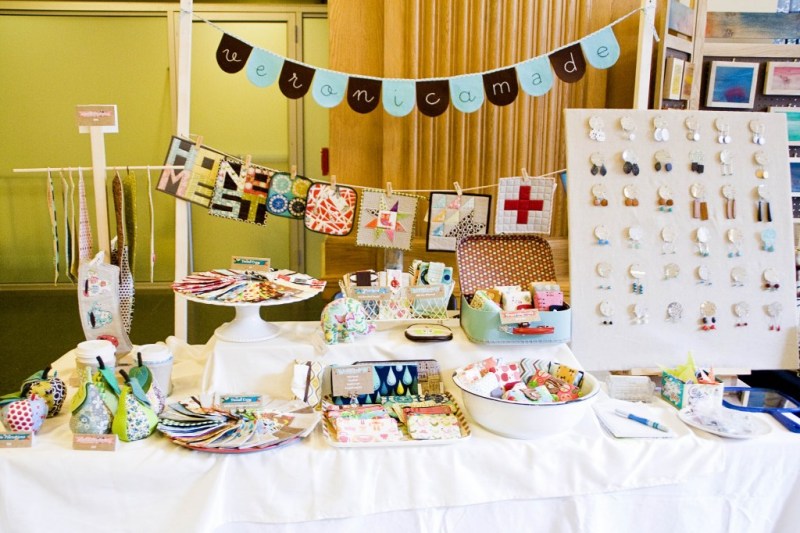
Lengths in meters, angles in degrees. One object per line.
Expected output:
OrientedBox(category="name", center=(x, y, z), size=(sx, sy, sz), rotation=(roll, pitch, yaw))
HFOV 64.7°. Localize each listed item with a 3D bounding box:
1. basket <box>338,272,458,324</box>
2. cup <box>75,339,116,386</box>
OrientedBox(category="basket", center=(-0.008, 0.166, 2.980), size=(0.385, 0.134, 0.277), rotation=(-1, 10, -11))
OrientedBox(category="cup", center=(-1.292, 0.413, 2.683), size=(0.182, 0.179, 0.181), rotation=(4, 14, -1))
